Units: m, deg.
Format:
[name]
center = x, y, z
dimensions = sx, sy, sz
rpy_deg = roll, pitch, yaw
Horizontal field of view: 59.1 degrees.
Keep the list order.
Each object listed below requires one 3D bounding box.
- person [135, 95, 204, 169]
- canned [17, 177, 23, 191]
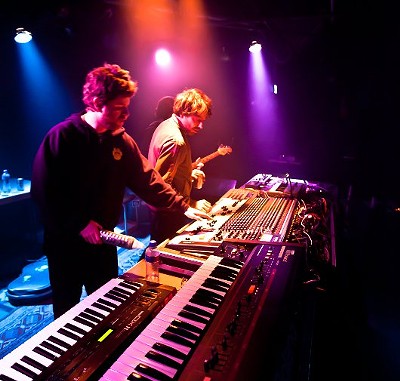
[person]
center = -0.468, -0.800, 4.547
dimensions = 0.585, 0.564, 1.781
rpy_deg = -9, -29, -21
[canned]
center = -2.673, -0.082, 5.237
dimensions = 0.077, 0.169, 0.159
rpy_deg = -5, 7, -28
